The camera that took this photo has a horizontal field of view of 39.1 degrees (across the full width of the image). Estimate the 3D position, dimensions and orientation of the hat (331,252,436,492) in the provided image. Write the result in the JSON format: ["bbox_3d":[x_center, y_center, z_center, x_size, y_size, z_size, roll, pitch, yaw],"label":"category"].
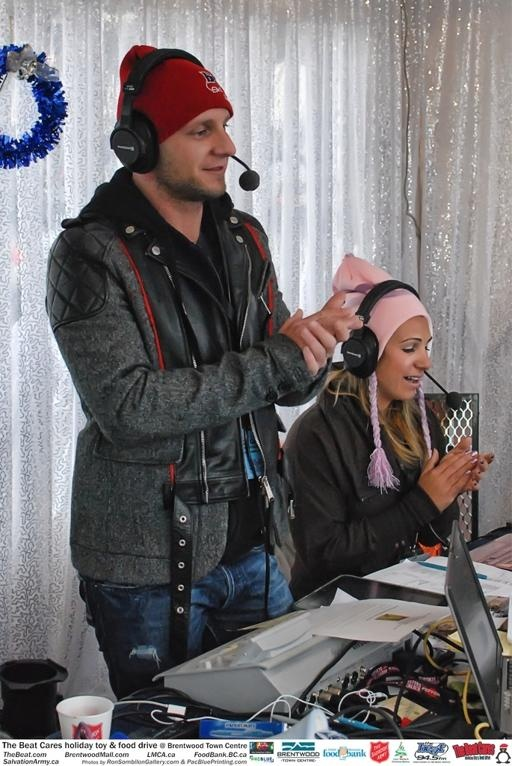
[{"bbox_3d":[0.306,-0.024,1.814,0.369,0.557,0.139,-15,4,-44],"label":"hat"}]

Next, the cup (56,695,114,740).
[{"bbox_3d":[-0.177,0.349,0.752,0.054,0.041,0.057,-1,-10,0],"label":"cup"}]

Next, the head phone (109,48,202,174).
[{"bbox_3d":[-0.167,-0.464,1.216,0.143,0.215,0.136,0,3,3],"label":"head phone"}]

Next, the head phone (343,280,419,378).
[{"bbox_3d":[0.327,-0.131,1.717,0.260,0.233,0.095,-4,17,-40],"label":"head phone"}]
